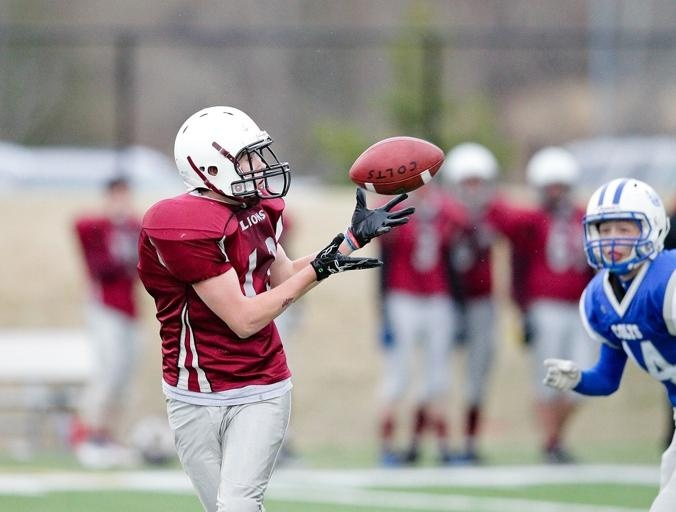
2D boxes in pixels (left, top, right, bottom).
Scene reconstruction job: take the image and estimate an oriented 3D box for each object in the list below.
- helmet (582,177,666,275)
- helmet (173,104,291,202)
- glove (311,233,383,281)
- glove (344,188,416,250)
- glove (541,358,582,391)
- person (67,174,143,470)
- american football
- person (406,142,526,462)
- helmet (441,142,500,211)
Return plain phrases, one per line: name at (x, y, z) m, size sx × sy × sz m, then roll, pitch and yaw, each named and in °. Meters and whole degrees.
helmet at (1.251, -0.136, 5.608) m, size 0.329 × 0.369 × 0.424 m, roll -7°, pitch 5°, yaw 43°
helmet at (-0.468, -0.463, 5.627) m, size 0.529 × 0.373 × 0.355 m, roll -4°, pitch 18°, yaw -5°
glove at (0.064, 0.009, 6.040) m, size 0.221 × 0.168 × 0.092 m, roll -15°, pitch -11°, yaw 11°
glove at (0.194, -0.118, 5.615) m, size 0.269 × 0.075 × 0.282 m, roll -31°, pitch 45°, yaw 0°
glove at (0.981, 0.518, 5.582) m, size 0.158 × 0.142 × 0.162 m, roll 1°, pitch 6°, yaw 10°
person at (-1.220, 0.322, 6.731) m, size 0.271 × 1.478 × 0.552 m, roll 2°, pitch 7°, yaw 21°
american football at (0.264, -0.433, 5.913) m, size 0.384 × 0.238 × 0.239 m, roll -16°, pitch 8°, yaw -2°
person at (0.719, 0.213, 6.674) m, size 0.317 × 1.607 × 0.545 m, roll 0°, pitch 6°, yaw 4°
helmet at (0.735, -0.403, 6.815) m, size 0.271 × 0.339 × 0.353 m, roll -1°, pitch 8°, yaw 11°
